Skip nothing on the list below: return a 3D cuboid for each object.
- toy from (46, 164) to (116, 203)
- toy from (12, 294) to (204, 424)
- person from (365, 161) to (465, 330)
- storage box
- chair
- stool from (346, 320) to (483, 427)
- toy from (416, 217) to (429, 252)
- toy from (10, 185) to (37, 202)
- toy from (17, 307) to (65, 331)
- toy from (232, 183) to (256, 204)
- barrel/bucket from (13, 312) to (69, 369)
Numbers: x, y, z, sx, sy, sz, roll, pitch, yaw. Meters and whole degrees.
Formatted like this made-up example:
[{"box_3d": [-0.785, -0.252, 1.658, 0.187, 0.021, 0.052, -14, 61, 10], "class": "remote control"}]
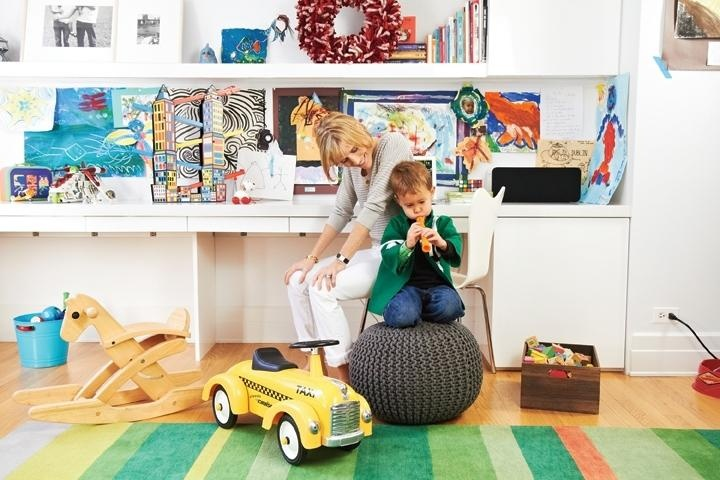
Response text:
[{"box_3d": [-1.592, -0.333, 3.058, 0.397, 0.219, 0.190, -2, 7, -19], "class": "toy"}, {"box_3d": [-1.113, 0.573, 2.621, 1.060, 0.697, 0.398, 1, -1, -33], "class": "toy"}, {"box_3d": [0.260, 0.009, 2.411, 0.451, 0.722, 0.395, 2, 13, 9], "class": "person"}, {"box_3d": [0.973, 0.652, 2.545, 0.348, 0.217, 0.395, 4, 13, 18], "class": "storage box"}, {"box_3d": [0.321, 0.153, 3.263, 0.977, 1.489, 0.803, 4, 2, 9], "class": "chair"}, {"box_3d": [0.238, 0.571, 2.250, 0.473, 0.317, 0.469, -2, 0, -2], "class": "stool"}, {"box_3d": [0.280, -0.019, 2.369, 0.040, 0.047, 0.167, 7, 38, -8], "class": "toy"}, {"box_3d": [-2.026, -0.272, 3.109, 0.081, 0.044, 0.102, 5, 13, 21], "class": "toy"}, {"box_3d": [-1.775, 0.425, 2.881, 0.152, 0.051, 0.146, 2, 6, 2], "class": "toy"}, {"box_3d": [-0.703, -0.256, 3.092, 0.124, 0.154, 0.075, -2, -27, 5], "class": "toy"}, {"box_3d": [-1.741, 0.570, 2.971, 0.345, 0.272, 0.355, 0, 4, 0], "class": "barrel/bucket"}]
